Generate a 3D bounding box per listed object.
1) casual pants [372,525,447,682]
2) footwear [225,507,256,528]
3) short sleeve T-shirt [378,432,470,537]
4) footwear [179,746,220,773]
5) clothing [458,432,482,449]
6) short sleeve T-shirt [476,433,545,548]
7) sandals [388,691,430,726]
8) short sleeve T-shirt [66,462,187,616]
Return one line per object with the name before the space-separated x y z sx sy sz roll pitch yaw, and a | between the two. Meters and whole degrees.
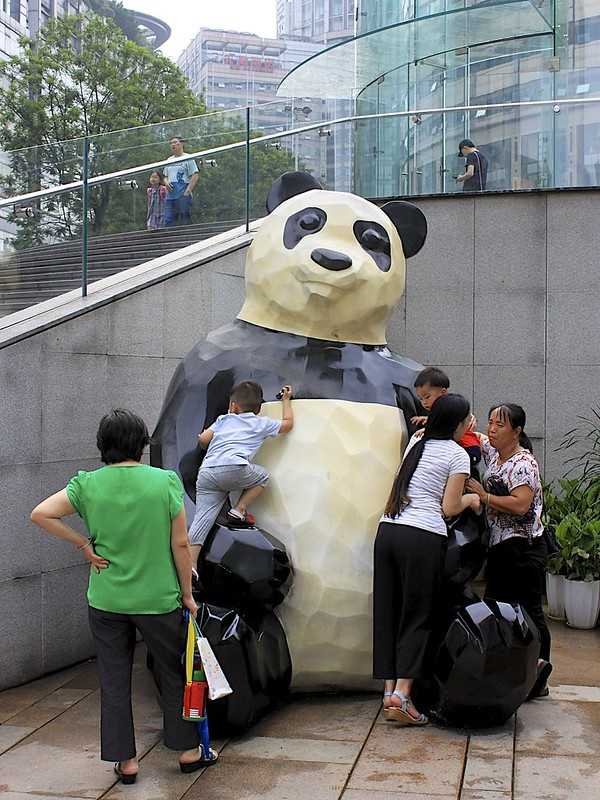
casual pants | 0.462 0.866 4.258 0.301 0.671 0.166 -1 4 4
footwear | -0.254 0.525 4.402 0.066 0.050 0.124 6 2 27
short sleeve T-shirt | 0.548 0.385 4.328 0.351 0.336 0.189 24 -8 29
footwear | -0.388 1.412 3.926 0.076 0.069 0.175 6 8 29
clothing | 0.776 0.191 4.592 0.098 0.054 0.103 3 24 -11
short sleeve T-shirt | 0.990 0.439 4.656 0.280 0.485 0.474 -1 4 10
sandals | 0.443 1.310 4.257 0.099 0.106 0.249 -10 -26 35
short sleeve T-shirt | -0.653 0.530 3.764 0.423 0.569 0.155 -2 4 -10
